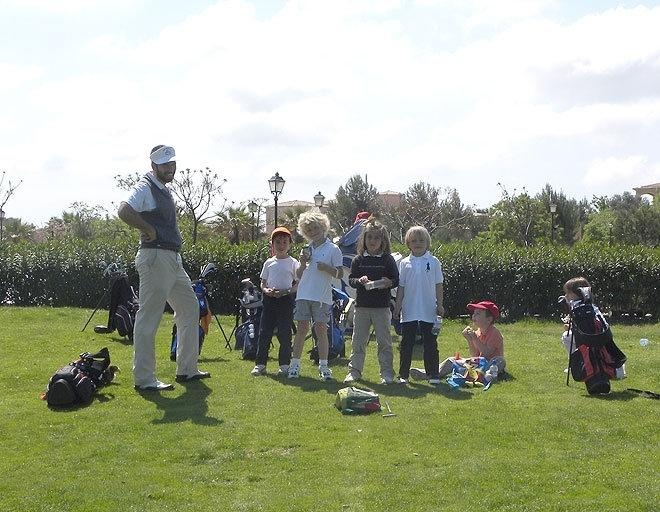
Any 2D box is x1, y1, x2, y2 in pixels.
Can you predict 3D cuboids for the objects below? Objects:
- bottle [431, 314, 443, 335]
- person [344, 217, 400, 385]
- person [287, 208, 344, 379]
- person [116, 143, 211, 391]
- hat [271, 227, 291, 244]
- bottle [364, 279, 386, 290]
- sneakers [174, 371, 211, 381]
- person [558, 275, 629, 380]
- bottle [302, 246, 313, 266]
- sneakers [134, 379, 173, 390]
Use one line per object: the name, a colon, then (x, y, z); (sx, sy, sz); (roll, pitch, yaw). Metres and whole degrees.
bottle: (1.320, 0.857, 9.177); (0.081, 0.288, 0.293); (3, 9, 14)
person: (0.538, 0.563, 9.285); (0.630, 2.002, 0.712); (2, 9, 7)
person: (-0.180, 0.501, 9.453); (0.659, 2.100, 0.747); (1, 9, 1)
person: (-1.921, 0.155, 8.435); (0.514, 2.789, 1.037); (5, 10, 24)
hat: (-0.633, -0.283, 9.736); (0.172, 0.221, 0.254); (2, -2, -6)
bottle: (0.549, 0.348, 9.006); (0.234, 0.158, 0.224); (1, 9, 0)
sneakers: (-1.633, 1.461, 8.983); (0.349, 0.152, 0.129); (-4, 7, -34)
person: (3.210, 0.971, 9.024); (0.615, 1.196, 1.257); (3, 9, 12)
bottle: (-0.271, -0.025, 9.268); (0.087, 0.224, 0.400); (2, 9, 10)
sneakers: (-1.980, 1.468, 8.411); (0.390, 0.171, 0.151); (-1, 0, -6)
